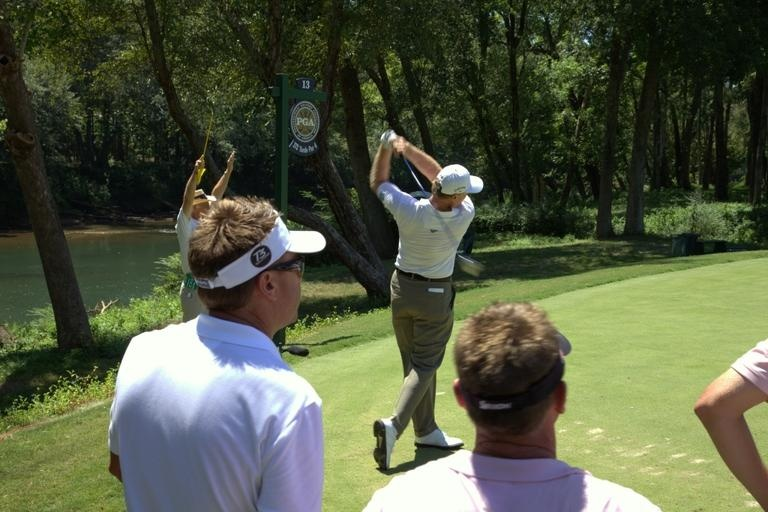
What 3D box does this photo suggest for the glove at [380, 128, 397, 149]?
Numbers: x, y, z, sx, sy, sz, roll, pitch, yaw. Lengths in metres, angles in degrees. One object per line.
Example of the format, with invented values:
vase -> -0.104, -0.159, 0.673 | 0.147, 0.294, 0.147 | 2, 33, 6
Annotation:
glove -> 0.068, -1.316, 7.988 | 0.149, 0.200, 0.214 | -13, 6, -8

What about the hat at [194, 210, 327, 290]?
hat -> -0.924, -0.016, 5.412 | 0.844, 0.252, 0.547 | -30, 17, -15

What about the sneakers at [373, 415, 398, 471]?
sneakers -> 0.003, 1.881, 7.326 | 0.269, 0.614, 0.185 | -1, 3, -32

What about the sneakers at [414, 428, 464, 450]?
sneakers -> 0.594, 1.962, 7.595 | 0.420, 0.192, 0.234 | -1, 1, -2

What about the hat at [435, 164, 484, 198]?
hat -> 0.813, -0.787, 7.713 | 0.442, 0.269, 0.319 | -9, 44, -11
